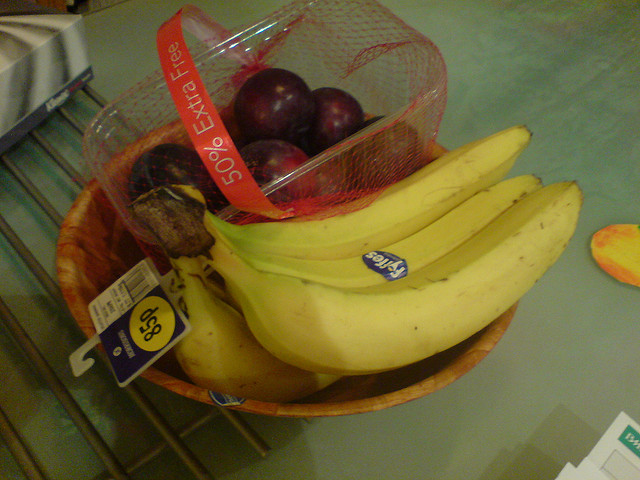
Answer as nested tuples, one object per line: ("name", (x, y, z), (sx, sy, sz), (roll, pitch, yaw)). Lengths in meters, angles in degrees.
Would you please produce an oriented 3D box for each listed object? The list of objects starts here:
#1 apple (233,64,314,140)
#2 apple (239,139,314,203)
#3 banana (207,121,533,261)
("apple", (-0.081, -0.219, 0.930), (0.153, 0.125, 0.125), (6, 23, 3))
("apple", (-0.064, -0.096, 0.818), (0.086, 0.081, 0.076), (52, 34, 1))
("banana", (0.100, -0.105, 0.950), (0.602, 0.078, 0.177), (-11, 18, -3))
